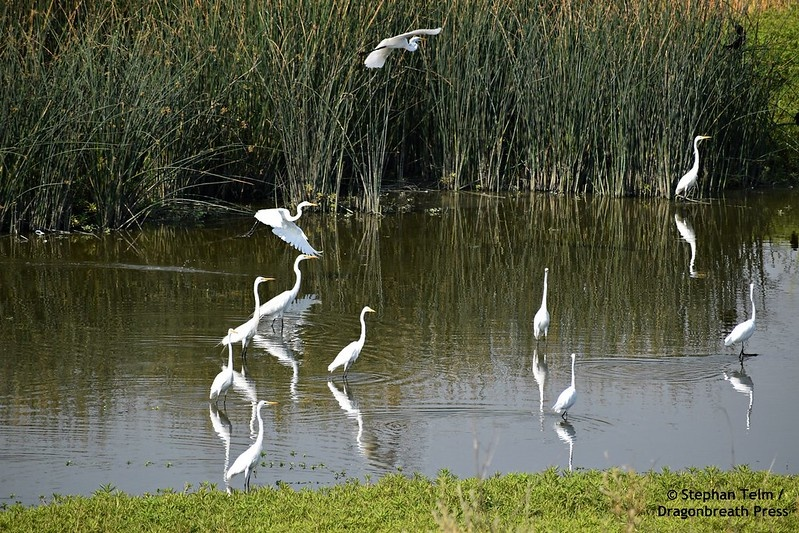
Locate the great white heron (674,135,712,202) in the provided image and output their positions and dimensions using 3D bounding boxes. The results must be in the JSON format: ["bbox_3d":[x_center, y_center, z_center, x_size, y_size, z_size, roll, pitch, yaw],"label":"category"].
[{"bbox_3d":[5.889,-1.967,23.044,0.624,1.323,1.458,4,14,14],"label":"great white heron"}]

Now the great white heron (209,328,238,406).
[{"bbox_3d":[-2.089,1.147,13.393,0.287,0.666,1.077,-1,14,-7],"label":"great white heron"}]

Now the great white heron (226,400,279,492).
[{"bbox_3d":[-1.599,1.922,11.898,0.462,1.044,0.223,-10,29,-32],"label":"great white heron"}]

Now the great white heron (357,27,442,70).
[{"bbox_3d":[-0.065,-4.034,21.221,0.942,0.500,1.338,-9,4,-25],"label":"great white heron"}]

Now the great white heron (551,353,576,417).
[{"bbox_3d":[1.924,1.304,13.320,0.269,0.683,1.108,3,14,9],"label":"great white heron"}]

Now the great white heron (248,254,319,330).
[{"bbox_3d":[-1.545,0.344,14.962,0.730,1.105,0.340,-5,42,-16],"label":"great white heron"}]
